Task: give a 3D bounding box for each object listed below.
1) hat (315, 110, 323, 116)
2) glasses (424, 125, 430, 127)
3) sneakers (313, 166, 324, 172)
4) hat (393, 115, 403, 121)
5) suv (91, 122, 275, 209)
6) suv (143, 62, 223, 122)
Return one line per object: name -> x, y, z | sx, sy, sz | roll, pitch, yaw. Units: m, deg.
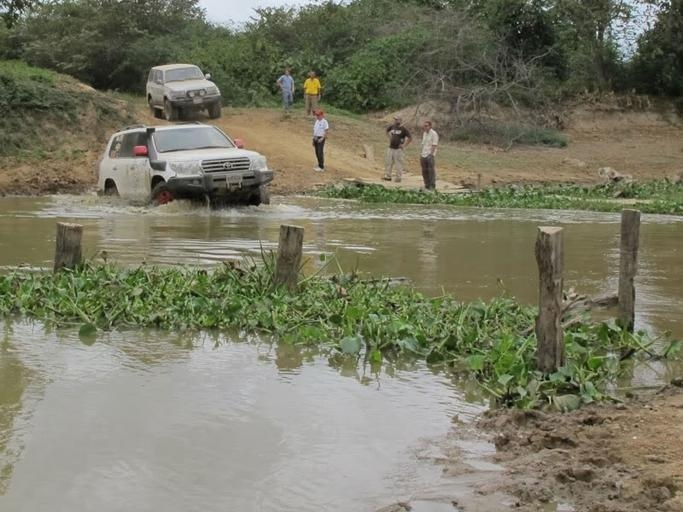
hat -> -0.611, -4.023, 27.070 | 0.207, 0.140, 0.283 | 0, -10, 5
glasses -> 2.327, -3.472, 25.822 | 0.073, 0.079, 0.092 | 0, -2, 38
sneakers -> -0.659, -2.613, 29.286 | 0.339, 0.140, 0.119 | 7, 37, -2
hat -> 1.600, -3.746, 26.444 | 0.165, 0.123, 0.246 | 17, -8, 39
suv -> -3.433, -1.866, 20.478 | 1.893, 1.280, 2.989 | -3, 3, -34
suv -> -5.210, -5.408, 31.870 | 1.680, 1.404, 2.991 | -6, 10, -23
